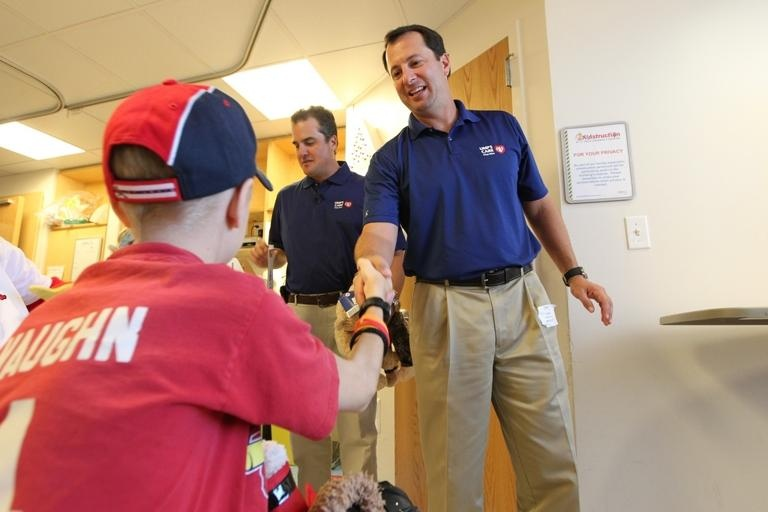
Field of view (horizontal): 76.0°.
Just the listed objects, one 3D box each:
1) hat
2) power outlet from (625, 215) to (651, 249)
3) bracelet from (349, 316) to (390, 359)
[{"bbox_3d":[-0.531,-0.327,1.403,0.375,0.303,0.528,-3,8,18],"label":"hat"},{"bbox_3d":[1.219,-0.117,2.366,0.119,0.174,0.020,-3,-6,-2],"label":"power outlet"},{"bbox_3d":[-0.042,0.224,1.378,0.087,0.112,0.071,3,47,1],"label":"bracelet"}]
